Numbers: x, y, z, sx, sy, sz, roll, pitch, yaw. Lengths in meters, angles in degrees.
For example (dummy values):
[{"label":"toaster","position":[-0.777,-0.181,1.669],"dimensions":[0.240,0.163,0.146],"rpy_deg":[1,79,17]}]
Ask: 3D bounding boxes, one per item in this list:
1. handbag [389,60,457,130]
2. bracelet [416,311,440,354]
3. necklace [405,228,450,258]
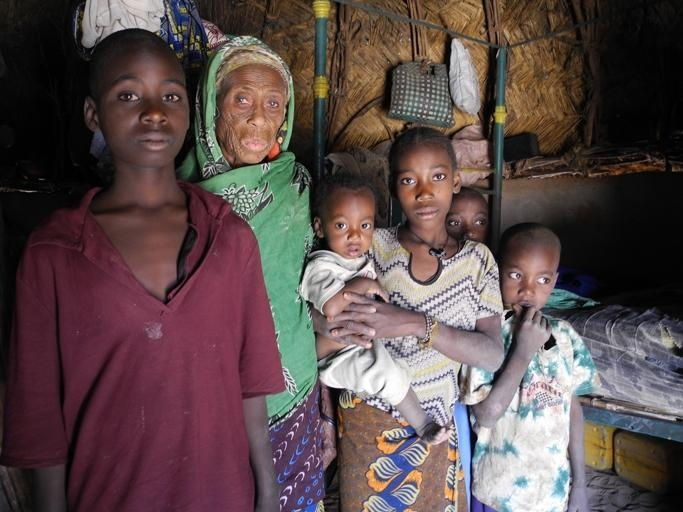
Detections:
[{"label":"handbag","position":[0.580,-1.194,4.534],"dimensions":[0.480,0.508,0.384],"rpy_deg":[0,5,3]},{"label":"bracelet","position":[0.354,0.314,2.526],"dimensions":[0.050,0.118,0.100],"rpy_deg":[5,0,6]},{"label":"necklace","position":[0.371,-0.036,2.693],"dimensions":[0.204,0.067,0.048],"rpy_deg":[38,-10,16]}]
